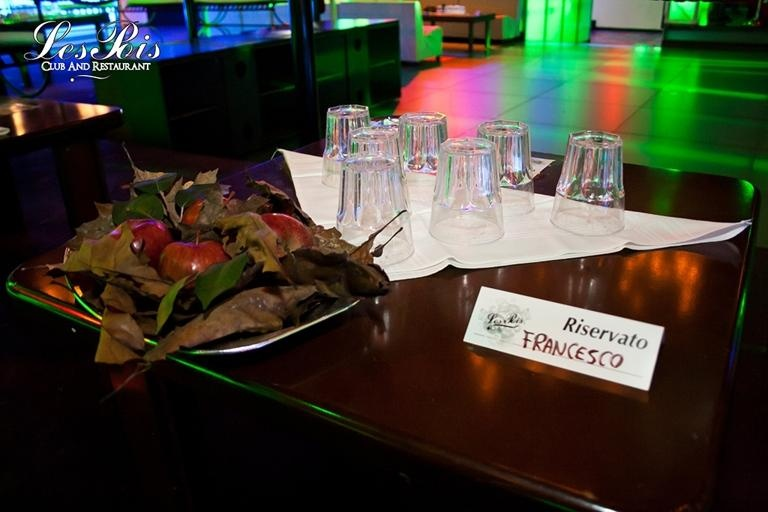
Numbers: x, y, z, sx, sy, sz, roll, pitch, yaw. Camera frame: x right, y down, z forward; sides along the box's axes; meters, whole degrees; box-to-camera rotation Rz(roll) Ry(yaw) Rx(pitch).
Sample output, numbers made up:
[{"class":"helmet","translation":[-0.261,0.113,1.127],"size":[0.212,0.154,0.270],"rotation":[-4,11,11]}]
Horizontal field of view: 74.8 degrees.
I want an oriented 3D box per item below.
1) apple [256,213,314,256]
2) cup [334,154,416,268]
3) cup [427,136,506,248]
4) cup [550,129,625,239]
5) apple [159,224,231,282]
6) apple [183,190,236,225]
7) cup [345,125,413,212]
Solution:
[{"class":"apple","translation":[-0.125,-0.033,0.634],"size":[0.059,0.023,0.048],"rotation":[33,23,26]},{"class":"cup","translation":[-0.005,-0.082,0.840],"size":[0.162,0.171,0.148],"rotation":[-5,26,2]},{"class":"cup","translation":[0.155,-0.126,0.904],"size":[0.165,0.177,0.163],"rotation":[-2,20,1]},{"class":"cup","translation":[0.338,-0.139,0.910],"size":[0.163,0.180,0.159],"rotation":[-1,24,1]},{"class":"apple","translation":[-0.214,-0.005,0.567],"size":[0.062,0.056,0.059],"rotation":[-2,4,-14]},{"class":"apple","translation":[-0.231,-0.063,0.660],"size":[0.044,0.018,0.033],"rotation":[-45,19,-6]},{"class":"cup","translation":[-0.013,-0.159,0.885],"size":[0.151,0.149,0.136],"rotation":[-6,19,-13]}]
